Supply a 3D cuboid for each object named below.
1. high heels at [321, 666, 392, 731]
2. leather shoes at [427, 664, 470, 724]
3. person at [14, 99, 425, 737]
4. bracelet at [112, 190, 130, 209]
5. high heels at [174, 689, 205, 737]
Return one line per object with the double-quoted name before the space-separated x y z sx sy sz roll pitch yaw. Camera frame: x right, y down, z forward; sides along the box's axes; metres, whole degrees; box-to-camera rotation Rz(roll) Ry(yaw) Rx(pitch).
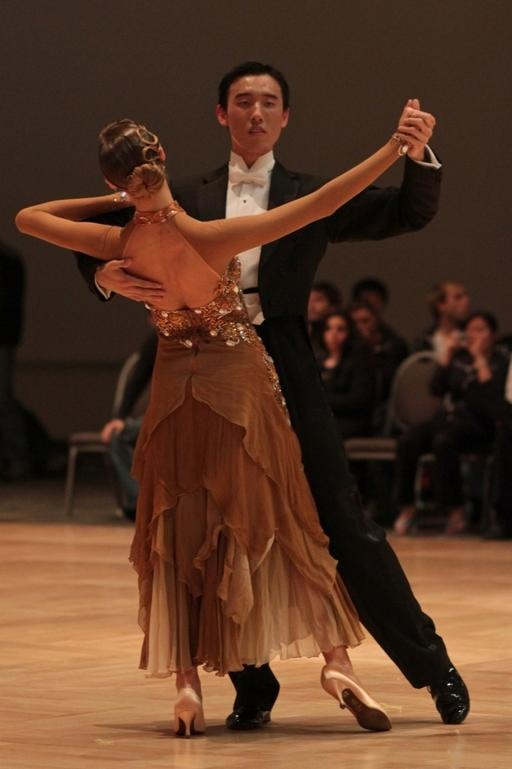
"high heels" 0.195 0.582 1.562 0.057 0.063 0.162 -22 20 -22
"leather shoes" 0.367 0.597 1.627 0.056 0.129 0.050 28 -56 -32
"person" -0.074 0.092 1.499 0.711 1.132 0.263 -4 -2 8
"bracelet" -0.273 -0.371 1.651 0.032 0.033 0.015 -2 -4 2
"high heels" -0.117 0.604 1.517 0.041 0.051 0.104 -1 -41 -2
